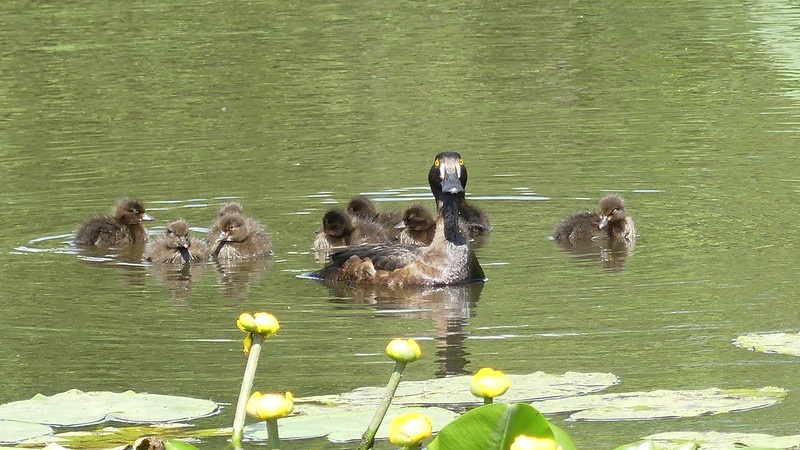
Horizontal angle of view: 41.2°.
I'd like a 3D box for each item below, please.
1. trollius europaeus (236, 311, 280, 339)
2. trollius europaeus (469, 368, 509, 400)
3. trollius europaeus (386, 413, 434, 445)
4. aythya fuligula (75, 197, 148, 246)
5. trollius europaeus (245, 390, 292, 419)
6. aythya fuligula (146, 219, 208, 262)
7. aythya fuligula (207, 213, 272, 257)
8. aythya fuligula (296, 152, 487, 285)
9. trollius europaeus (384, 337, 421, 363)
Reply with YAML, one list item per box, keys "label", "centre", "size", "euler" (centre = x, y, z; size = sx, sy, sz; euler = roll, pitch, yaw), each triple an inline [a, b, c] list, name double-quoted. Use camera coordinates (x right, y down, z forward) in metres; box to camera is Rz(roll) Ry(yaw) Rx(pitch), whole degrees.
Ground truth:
- label: "trollius europaeus"
  centre: [-1.276, 0.886, 9.363]
  size: [0.364, 0.109, 0.285]
  euler: [5, 2, 13]
- label: "trollius europaeus"
  centre: [0.789, 1.447, 9.442]
  size: [0.361, 0.119, 0.326]
  euler: [25, 41, 32]
- label: "trollius europaeus"
  centre: [0.088, 1.748, 9.168]
  size: [0.341, 0.163, 0.323]
  euler: [-17, -6, -2]
- label: "aythya fuligula"
  centre: [-5.211, -0.047, 19.264]
  size: [1.418, 0.863, 0.533]
  euler: [-3, 8, -26]
- label: "trollius europaeus"
  centre: [-1.148, 1.557, 9.272]
  size: [0.361, 0.121, 0.311]
  euler: [0, 0, -13]
- label: "aythya fuligula"
  centre: [-3.879, 0.275, 18.487]
  size: [1.084, 0.765, 0.800]
  euler: [-2, 6, -9]
- label: "aythya fuligula"
  centre: [-2.820, 0.210, 18.660]
  size: [0.983, 0.729, 2.183]
  euler: [2, 0, -10]
- label: "aythya fuligula"
  centre: [0.160, -0.098, 17.208]
  size: [2.380, 2.151, 0.867]
  euler: [-1, 8, -2]
- label: "trollius europaeus"
  centre: [0.033, 1.120, 9.442]
  size: [0.272, 0.233, 0.243]
  euler: [0, 6, 5]
